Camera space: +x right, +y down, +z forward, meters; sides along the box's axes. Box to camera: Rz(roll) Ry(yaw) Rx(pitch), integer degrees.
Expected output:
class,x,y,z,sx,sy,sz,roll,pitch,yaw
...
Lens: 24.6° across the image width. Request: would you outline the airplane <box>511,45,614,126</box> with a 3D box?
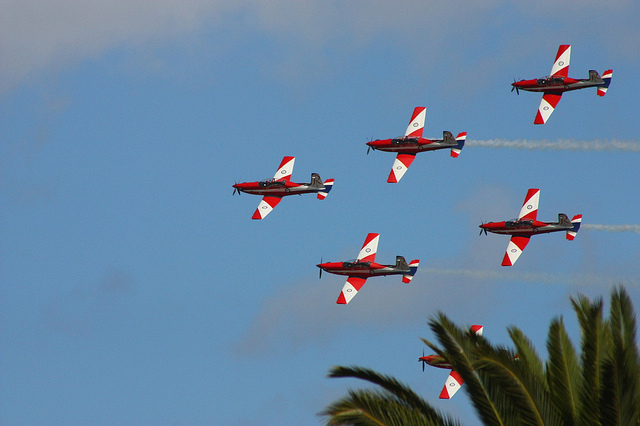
class,x,y,z,sx,sy,sz,roll,pitch,yaw
airplane,14.101,-7.898,88.072,5.616,2.018,6.411,-5,-14,42
